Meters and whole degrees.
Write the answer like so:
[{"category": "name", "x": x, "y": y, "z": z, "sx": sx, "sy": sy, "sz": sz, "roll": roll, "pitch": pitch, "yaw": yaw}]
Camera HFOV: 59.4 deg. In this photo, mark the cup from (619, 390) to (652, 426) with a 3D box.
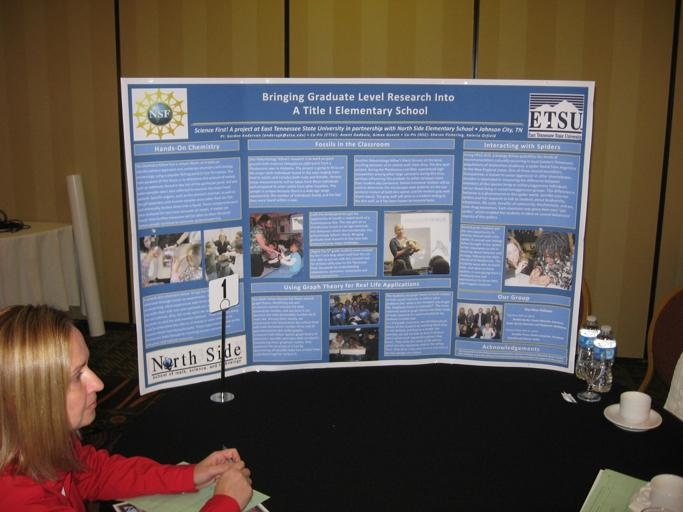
[{"category": "cup", "x": 1.153, "y": 0.586, "z": 2.362, "sx": 0.110, "sy": 0.094, "sz": 0.115, "roll": 0, "pitch": 1, "yaw": 0}]
